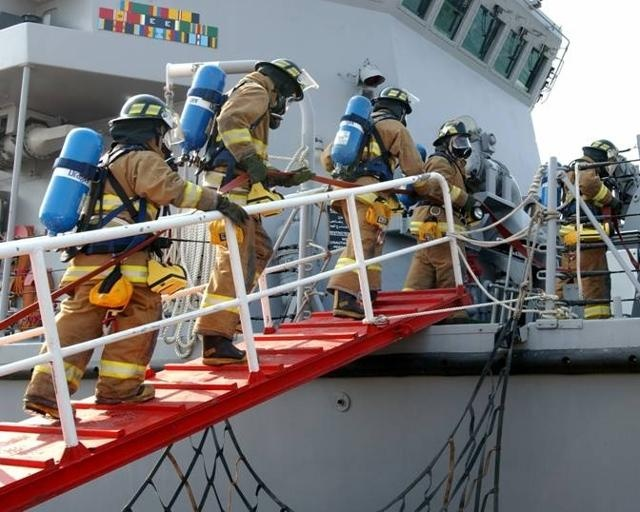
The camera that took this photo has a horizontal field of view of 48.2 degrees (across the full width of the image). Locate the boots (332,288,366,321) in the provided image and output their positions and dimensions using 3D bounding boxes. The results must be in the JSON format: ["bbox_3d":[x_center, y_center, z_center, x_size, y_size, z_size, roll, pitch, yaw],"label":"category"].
[{"bbox_3d":[0.171,0.400,4.554,0.193,0.209,0.153,-8,12,3],"label":"boots"}]

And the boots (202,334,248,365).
[{"bbox_3d":[-0.553,0.626,3.970,0.303,0.266,0.129,-1,-2,-10],"label":"boots"}]

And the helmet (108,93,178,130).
[{"bbox_3d":[-0.973,-0.802,3.948,0.365,0.160,0.264,-1,11,-32],"label":"helmet"}]

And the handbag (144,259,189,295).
[{"bbox_3d":[-0.800,0.171,3.744,0.171,0.084,0.230,-32,-18,22],"label":"handbag"}]

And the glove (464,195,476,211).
[{"bbox_3d":[1.090,-0.340,5.230,0.126,0.116,0.040,-17,14,-35],"label":"glove"}]

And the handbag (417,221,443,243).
[{"bbox_3d":[0.813,-0.105,5.304,0.172,0.143,0.164,-4,5,-20],"label":"handbag"}]

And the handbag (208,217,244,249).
[{"bbox_3d":[-0.536,-0.065,3.943,0.187,0.164,0.127,-5,10,-20],"label":"handbag"}]

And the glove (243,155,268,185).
[{"bbox_3d":[-0.379,-0.460,4.105,0.128,0.169,0.064,-24,13,-27],"label":"glove"}]

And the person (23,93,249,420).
[{"bbox_3d":[-1.032,0.009,3.683,1.249,1.636,0.691,-15,14,-26],"label":"person"}]

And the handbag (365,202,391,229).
[{"bbox_3d":[0.384,-0.207,4.659,0.183,0.195,0.121,-10,12,-7],"label":"handbag"}]

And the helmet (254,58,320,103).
[{"bbox_3d":[-0.219,-1.111,4.490,0.329,0.199,0.234,33,8,-25],"label":"helmet"}]

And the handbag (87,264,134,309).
[{"bbox_3d":[-1.046,0.214,3.537,0.179,0.226,0.124,16,-28,-17],"label":"handbag"}]

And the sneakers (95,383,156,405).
[{"bbox_3d":[-0.989,0.805,3.619,0.310,0.121,0.108,-4,9,-18],"label":"sneakers"}]

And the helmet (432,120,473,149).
[{"bbox_3d":[1.002,-0.959,5.631,0.306,0.147,0.231,-17,-9,25],"label":"helmet"}]

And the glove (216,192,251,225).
[{"bbox_3d":[-0.465,-0.199,3.668,0.110,0.191,0.050,-53,18,-25],"label":"glove"}]

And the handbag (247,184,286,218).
[{"bbox_3d":[-0.314,-0.282,4.166,0.196,0.222,0.098,-7,-41,-31],"label":"handbag"}]

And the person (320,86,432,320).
[{"bbox_3d":[0.320,-0.349,4.826,0.624,1.518,1.297,-2,14,31],"label":"person"}]
